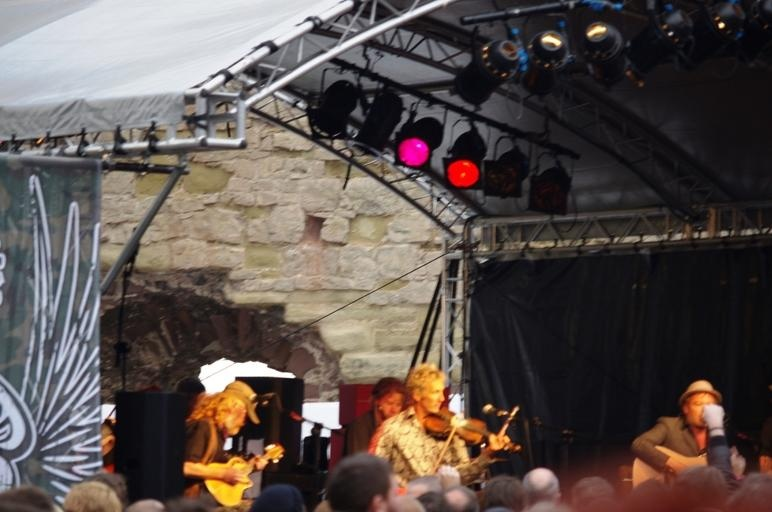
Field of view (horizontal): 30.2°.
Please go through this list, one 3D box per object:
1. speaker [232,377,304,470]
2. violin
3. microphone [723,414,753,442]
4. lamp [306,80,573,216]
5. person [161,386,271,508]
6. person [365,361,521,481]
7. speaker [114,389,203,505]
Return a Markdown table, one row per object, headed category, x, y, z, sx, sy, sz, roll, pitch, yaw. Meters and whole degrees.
| category | x | y | z | sx | sy | sz | roll | pitch | yaw |
| --- | --- | --- | --- | --- | --- | --- | --- | --- | --- |
| speaker | -1.199 | 1.704 | 14.876 | 1.092 | 0.927 | 0.595 | -6 | 7 | -2 |
| violin | 0.819 | 1.684 | 13.573 | 1.068 | 0.354 | 0.196 | 15 | -36 | -19 |
| microphone | 3.467 | 1.699 | 14.258 | 0.289 | 0.115 | 0.148 | 33 | -26 | 40 |
| lamp | 0.521 | -1.126 | 14.803 | 2.706 | 1.227 | 0.474 | 3 | -9 | -8 |
| person | -1.534 | 1.755 | 13.810 | 0.210 | 0.559 | 1.213 | -18 | 9 | 31 |
| person | 0.432 | 1.661 | 13.177 | 0.854 | 1.539 | 0.669 | 3 | -6 | -22 |
| speaker | -2.326 | 1.719 | 12.843 | 0.579 | 1.148 | 0.736 | 0 | -1 | -16 |
